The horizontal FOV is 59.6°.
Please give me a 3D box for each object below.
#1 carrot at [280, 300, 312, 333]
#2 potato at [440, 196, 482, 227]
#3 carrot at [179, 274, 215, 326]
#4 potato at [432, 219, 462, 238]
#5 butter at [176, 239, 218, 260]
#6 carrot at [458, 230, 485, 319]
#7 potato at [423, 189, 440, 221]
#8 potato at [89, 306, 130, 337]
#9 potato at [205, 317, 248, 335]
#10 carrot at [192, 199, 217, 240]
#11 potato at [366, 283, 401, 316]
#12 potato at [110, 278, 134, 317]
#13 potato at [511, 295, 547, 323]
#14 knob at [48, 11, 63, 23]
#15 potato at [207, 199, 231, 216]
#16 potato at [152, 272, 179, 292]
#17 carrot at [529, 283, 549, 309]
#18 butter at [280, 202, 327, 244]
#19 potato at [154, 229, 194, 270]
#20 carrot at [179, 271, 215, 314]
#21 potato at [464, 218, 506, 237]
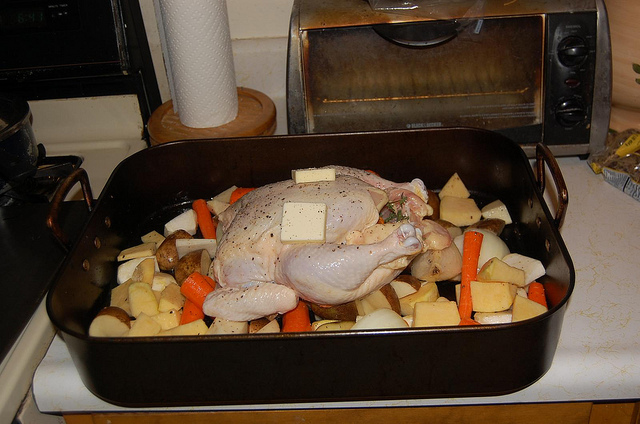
[{"bbox_3d":[-0.062,0.330,1.730,0.076,0.070,0.167,-15,0,10],"label":"carrot"},{"bbox_3d":[0.488,-0.014,1.984,0.138,0.043,0.162,1,25,1],"label":"potato"},{"bbox_3d":[-0.394,0.248,1.721,0.119,0.124,0.141,5,30,10],"label":"carrot"},{"bbox_3d":[0.435,0.044,1.887,0.055,0.027,0.074,3,27,-42],"label":"potato"},{"bbox_3d":[-0.410,0.112,1.873,0.091,0.038,0.072,-18,44,-24],"label":"butter"},{"bbox_3d":[0.472,0.174,1.745,0.059,0.044,0.327,11,70,-7],"label":"carrot"},{"bbox_3d":[0.393,-0.020,1.978,0.041,0.085,0.094,12,53,-28],"label":"potato"},{"bbox_3d":[-0.620,0.310,1.654,0.085,0.107,0.040,-2,-5,6],"label":"potato"},{"bbox_3d":[-0.271,0.340,1.647,0.062,0.023,0.069,0,31,2],"label":"potato"},{"bbox_3d":[-0.406,0.035,1.977,0.048,0.050,0.192,2,43,-34],"label":"carrot"},{"bbox_3d":[0.193,0.269,1.717,0.067,0.093,0.031,18,32,-46],"label":"potato"},{"bbox_3d":[-0.604,0.271,1.772,0.024,0.090,0.102,21,62,-36],"label":"potato"},{"bbox_3d":[0.583,0.285,1.618,0.088,0.026,0.113,1,30,-29],"label":"potato"},{"bbox_3d":[-1.015,-0.757,2.161,0.044,0.037,0.016,-1,11,5],"label":"knob"},{"bbox_3d":[-0.355,-0.009,1.979,0.062,0.056,0.031,-10,80,11],"label":"potato"},{"bbox_3d":[-0.506,0.225,1.807,0.048,0.018,0.070,8,44,0],"label":"potato"},{"bbox_3d":[0.657,0.248,1.682,0.035,0.025,0.081,-3,52,4],"label":"carrot"},{"bbox_3d":[-0.050,0.032,1.667,0.117,0.029,0.128,-1,73,10],"label":"butter"},{"bbox_3d":[-0.482,0.149,1.907,0.130,0.067,0.097,-47,52,0],"label":"potato"},{"bbox_3d":[-0.387,0.233,1.749,0.058,0.168,0.092,15,65,35],"label":"carrot"},{"bbox_3d":[0.566,0.042,1.877,0.093,0.022,0.070,-24,30,-20],"label":"potato"}]
